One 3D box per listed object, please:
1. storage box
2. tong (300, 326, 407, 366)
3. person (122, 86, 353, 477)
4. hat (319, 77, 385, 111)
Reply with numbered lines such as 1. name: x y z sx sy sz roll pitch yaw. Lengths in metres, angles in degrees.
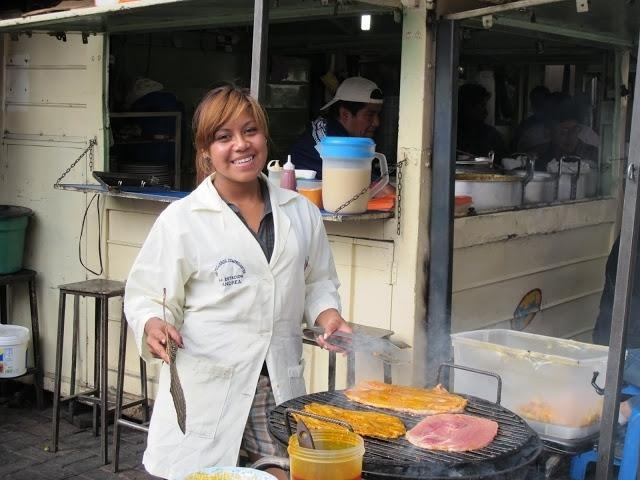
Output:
1. storage box: 1.120 0.641 2.964 0.750 0.367 0.491 4 4 43
2. tong: 0.160 0.438 2.455 0.313 0.158 0.509 -2 10 -13
3. person: -0.408 0.258 2.864 0.938 1.986 0.871 1 3 -10
4. hat: 0.301 -1.275 5.103 0.433 0.268 0.437 14 11 38
